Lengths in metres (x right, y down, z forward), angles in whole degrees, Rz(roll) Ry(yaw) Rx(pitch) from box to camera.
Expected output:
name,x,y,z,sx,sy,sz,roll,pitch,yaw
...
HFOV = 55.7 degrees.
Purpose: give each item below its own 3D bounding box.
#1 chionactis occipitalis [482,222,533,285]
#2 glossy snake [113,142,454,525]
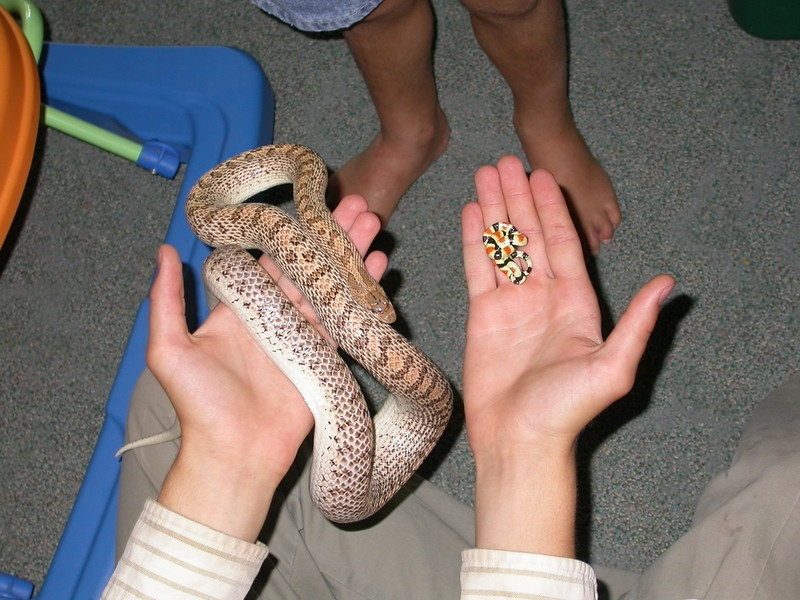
name,x,y,z,sx,sy,sz,roll,pitch,yaw
chionactis occipitalis,0.422,-0.191,2.969,0.058,0.154,0.250,54,13,-68
glossy snake,-0.445,-0.017,3.122,1.007,0.410,1.698,-34,85,-26
